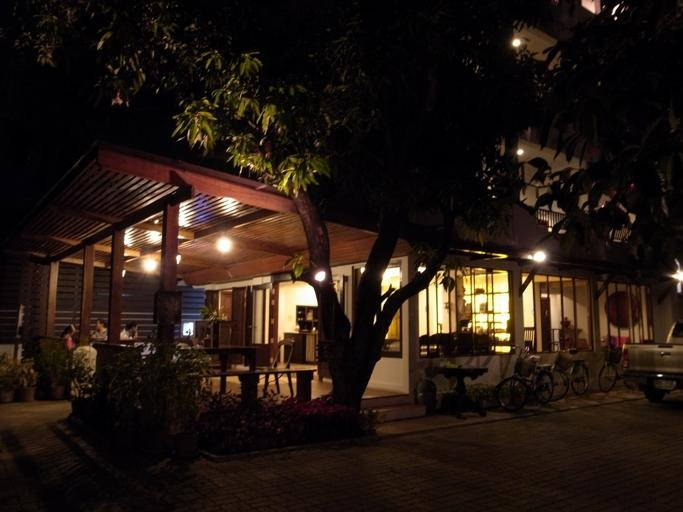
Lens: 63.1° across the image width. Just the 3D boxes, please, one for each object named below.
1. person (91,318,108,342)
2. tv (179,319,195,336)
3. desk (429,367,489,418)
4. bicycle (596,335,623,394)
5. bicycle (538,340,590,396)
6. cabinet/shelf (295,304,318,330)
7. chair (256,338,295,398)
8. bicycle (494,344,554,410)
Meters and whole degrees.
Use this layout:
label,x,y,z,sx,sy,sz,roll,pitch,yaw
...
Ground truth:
label,x,y,z,sx,sy,sz,roll,pitch,yaw
person,-6.811,2.032,15.223,0.413,0.806,0.510,5,-11,-23
tv,-5.382,2.436,18.825,0.405,0.454,1.696,2,-4,-19
desk,2.640,2.945,12.133,1.013,1.040,1.097,-2,-7,13
bicycle,8.184,3.149,16.628,0.984,1.452,2.299,-10,-14,28
bicycle,5.944,3.047,14.596,2.206,1.437,1.108,7,-14,-32
cabinet/shelf,-1.272,2.132,19.288,0.283,0.952,0.940,14,-18,-43
chair,-1.705,2.821,13.902,0.830,1.403,0.845,-6,-10,18
bicycle,4.430,2.856,13.035,1.916,1.340,1.127,-1,3,-31
